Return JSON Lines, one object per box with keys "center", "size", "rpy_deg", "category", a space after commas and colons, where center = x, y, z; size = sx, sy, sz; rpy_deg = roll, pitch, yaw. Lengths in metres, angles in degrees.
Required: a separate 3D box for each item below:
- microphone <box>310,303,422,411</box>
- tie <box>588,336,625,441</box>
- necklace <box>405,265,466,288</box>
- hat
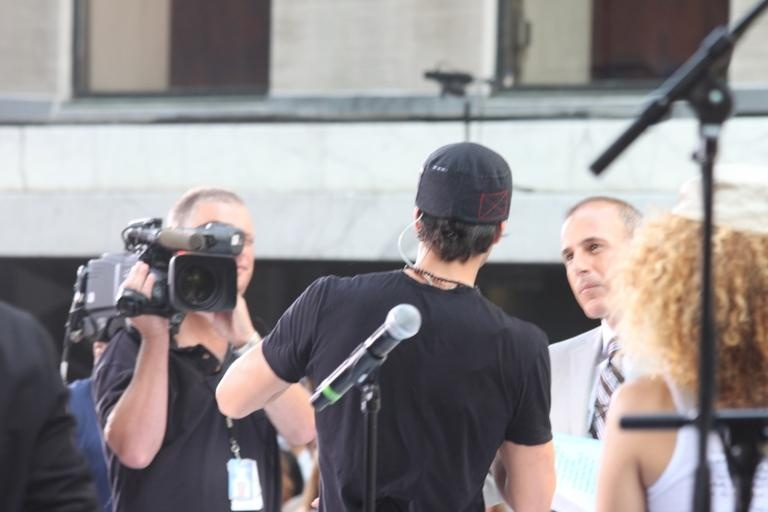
{"center": [-0.057, 0.351, 6.105], "size": [0.133, 0.463, 0.142], "rpy_deg": [50, 9, 18], "category": "microphone"}
{"center": [0.831, 0.455, 7.014], "size": [0.086, 0.041, 0.383], "rpy_deg": [-14, -39, -14], "category": "tie"}
{"center": [0.176, 0.069, 6.310], "size": [0.123, 0.022, 0.024], "rpy_deg": [21, -28, 10], "category": "necklace"}
{"center": [0.311, -0.285, 6.485], "size": [0.358, 0.232, 0.409], "rpy_deg": [15, 19, 38], "category": "hat"}
